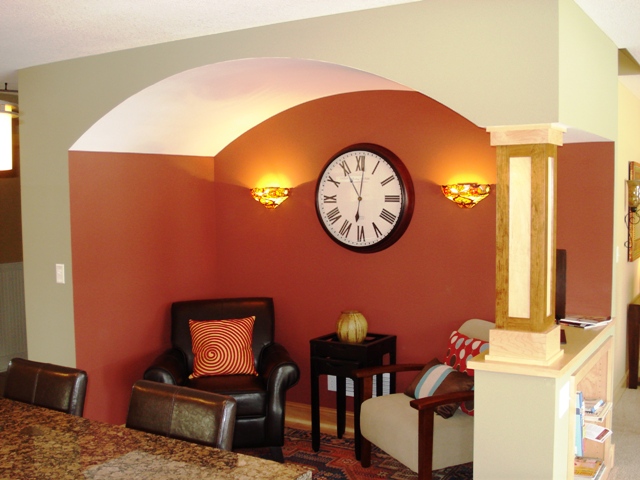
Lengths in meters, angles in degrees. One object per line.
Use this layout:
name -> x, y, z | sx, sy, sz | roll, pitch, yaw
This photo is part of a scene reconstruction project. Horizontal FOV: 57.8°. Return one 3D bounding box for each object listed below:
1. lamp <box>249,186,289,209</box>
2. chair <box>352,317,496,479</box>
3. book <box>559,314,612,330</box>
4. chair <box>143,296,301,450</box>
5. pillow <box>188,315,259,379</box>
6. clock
lamp -> -0.441, -0.391, 5.234 | 0.317, 0.161, 0.178 | 4, 1, 34
chair -> 0.759, 0.960, 4.355 | 1.075, 1.326, 1.061 | 1, -1, -28
book -> 1.861, 0.571, 4.048 | 0.258, 0.094, 0.371 | 4, 1, 44
chair -> -0.768, 1.146, 4.701 | 1.152, 1.259, 1.027 | -2, -1, -2
pillow -> -0.803, 0.904, 4.776 | 0.418, 0.391, 0.155 | 0, -29, -5
clock -> 0.359, -0.357, 4.841 | 0.864, 0.924, 0.180 | 0, 3, 25
